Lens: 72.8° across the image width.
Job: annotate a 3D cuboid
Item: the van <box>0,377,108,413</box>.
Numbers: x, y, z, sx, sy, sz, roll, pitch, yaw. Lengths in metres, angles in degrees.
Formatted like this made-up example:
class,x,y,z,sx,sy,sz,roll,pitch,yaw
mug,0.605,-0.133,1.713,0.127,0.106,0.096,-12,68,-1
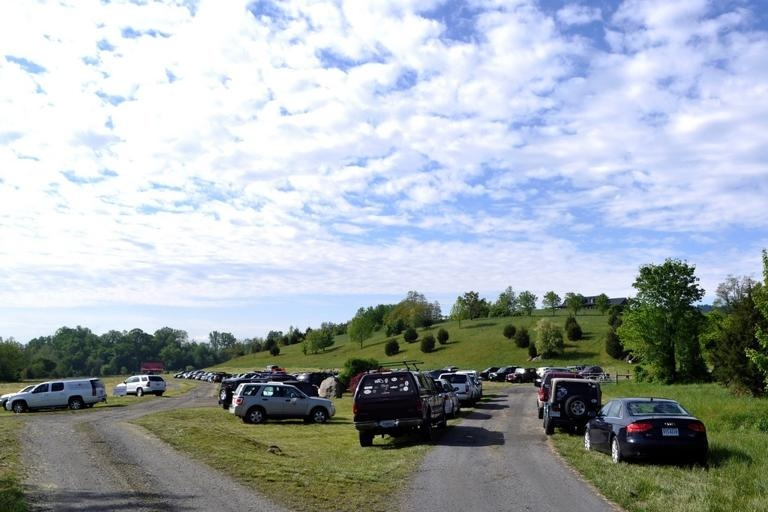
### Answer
class,x,y,z,sx,sy,sz,roll,pitch,yaw
van,-21.888,9.372,35.231,5.285,2.190,1.685,4,-14,-15

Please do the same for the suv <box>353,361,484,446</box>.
class,x,y,z,sx,sy,sz,roll,pitch,yaw
suv,0.774,6.565,22.788,2.586,3.266,4.367,-5,-15,22

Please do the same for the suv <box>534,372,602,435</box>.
class,x,y,z,sx,sy,sz,roll,pitch,yaw
suv,8.342,6.888,24.594,2.144,1.860,3.721,1,-8,3

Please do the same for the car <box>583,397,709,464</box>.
class,x,y,z,sx,sy,sz,roll,pitch,yaw
car,8.746,5.974,17.882,1.943,2.113,3.472,8,-16,-27

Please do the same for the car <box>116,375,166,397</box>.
class,x,y,z,sx,sy,sz,roll,pitch,yaw
car,-22.918,12.214,49.369,6.057,1.918,2.317,-14,-20,42
